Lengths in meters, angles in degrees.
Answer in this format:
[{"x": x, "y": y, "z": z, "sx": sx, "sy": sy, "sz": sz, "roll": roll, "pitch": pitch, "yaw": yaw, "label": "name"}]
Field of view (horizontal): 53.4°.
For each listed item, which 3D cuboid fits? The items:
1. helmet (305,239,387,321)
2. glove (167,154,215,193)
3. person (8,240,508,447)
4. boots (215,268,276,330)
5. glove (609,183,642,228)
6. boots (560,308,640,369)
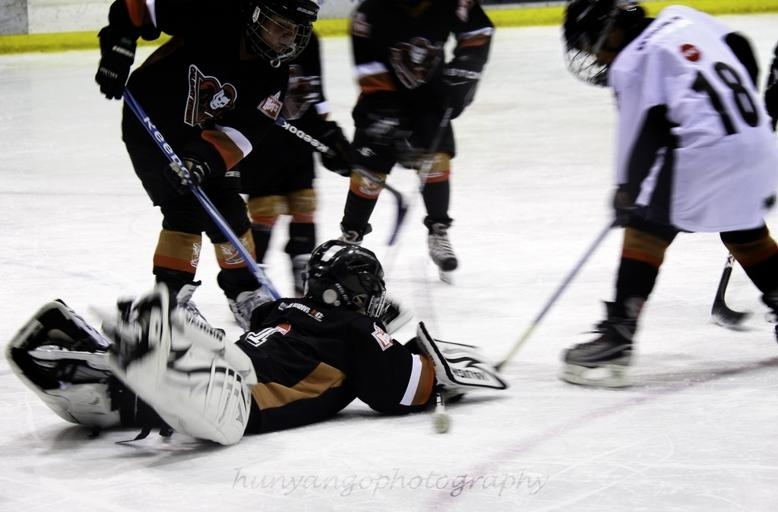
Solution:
[{"x": -0.179, "y": 0.101, "z": 2.681, "sx": 0.301, "sy": 0.257, "sz": 0.342, "roll": -1, "pitch": -13, "yaw": 24, "label": "helmet"}, {"x": -0.749, "y": -0.311, "z": 2.881, "sx": 0.179, "sy": 0.103, "sz": 0.074, "roll": -20, "pitch": 4, "yaw": -16, "label": "glove"}, {"x": -0.366, "y": 0.247, "z": 2.452, "sx": 1.150, "sy": 0.326, "sz": 0.719, "roll": 0, "pitch": 2, "yaw": -38, "label": "person"}, {"x": -0.597, "y": 0.175, "z": 3.201, "sx": 0.110, "sy": 0.289, "sz": 0.132, "roll": -43, "pitch": -14, "yaw": 11, "label": "boots"}, {"x": 0.832, "y": -0.183, "z": 2.741, "sx": 0.046, "sy": 0.139, "sz": 0.103, "roll": -8, "pitch": 38, "yaw": 30, "label": "glove"}, {"x": 0.831, "y": 0.297, "z": 2.850, "sx": 0.151, "sy": 0.264, "sz": 0.350, "roll": 5, "pitch": -9, "yaw": -31, "label": "boots"}]
